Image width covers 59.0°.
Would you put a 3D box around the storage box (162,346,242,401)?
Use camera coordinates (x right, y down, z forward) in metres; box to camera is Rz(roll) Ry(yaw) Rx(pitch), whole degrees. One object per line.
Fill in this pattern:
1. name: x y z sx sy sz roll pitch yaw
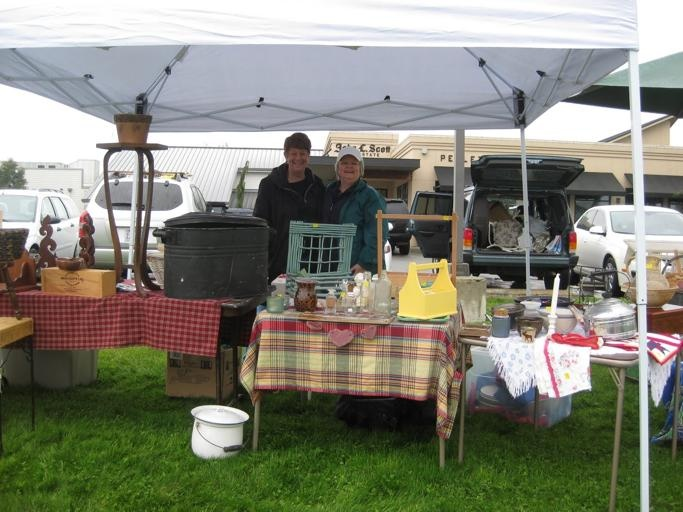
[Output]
1. storage box: -1.290 1.107 5.700 0.408 0.594 0.811 0 -18 1

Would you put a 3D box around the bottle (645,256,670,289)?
1. bottle: 2.250 0.140 4.383 0.175 0.264 0.184 -1 4 0

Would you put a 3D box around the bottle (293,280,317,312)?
1. bottle: -0.255 0.280 4.333 0.184 0.258 0.196 0 1 0

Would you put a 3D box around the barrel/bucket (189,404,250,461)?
1. barrel/bucket: -0.896 1.307 4.463 0.413 0.350 0.469 8 0 -34

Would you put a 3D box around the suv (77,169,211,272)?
1. suv: -2.969 -0.530 8.835 1.286 1.239 2.436 0 13 -2

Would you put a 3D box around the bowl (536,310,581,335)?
1. bowl: 1.486 0.429 4.114 0.169 0.103 0.180 -1 0 0

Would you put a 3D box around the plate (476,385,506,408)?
1. plate: 1.254 1.161 5.042 0.169 0.067 0.179 3 7 23

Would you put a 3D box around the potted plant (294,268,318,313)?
1. potted plant: -0.268 0.254 4.412 0.241 0.317 0.255 3 3 -5

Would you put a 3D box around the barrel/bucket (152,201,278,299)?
1. barrel/bucket: -0.959 0.004 4.705 0.904 0.667 0.521 2 -3 -37

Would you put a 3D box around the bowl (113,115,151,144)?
1. bowl: -1.627 -0.993 4.731 0.296 0.241 0.287 0 8 0

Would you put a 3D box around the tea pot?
1. tea pot: 1.768 0.319 4.177 0.320 0.465 0.477 -12 6 -41

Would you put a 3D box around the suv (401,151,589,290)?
1. suv: 2.694 -0.754 10.284 2.225 1.626 2.860 1 10 3

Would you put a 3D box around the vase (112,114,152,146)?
1. vase: -1.629 -0.997 4.735 0.280 0.242 0.286 1 8 4

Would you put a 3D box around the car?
1. car: 4.926 -0.285 11.266 1.803 1.628 3.334 0 -1 0

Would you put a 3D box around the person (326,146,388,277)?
1. person: 0.108 -0.434 5.432 0.448 1.096 0.683 -7 13 -39

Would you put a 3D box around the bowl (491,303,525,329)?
1. bowl: 1.174 0.395 4.205 0.176 0.136 0.188 -1 -1 0

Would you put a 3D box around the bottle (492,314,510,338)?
1. bottle: 1.065 0.475 4.049 0.128 0.163 0.114 -1 0 14

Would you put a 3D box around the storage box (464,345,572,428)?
1. storage box: 1.341 1.161 5.018 0.703 0.489 0.746 1 -3 23

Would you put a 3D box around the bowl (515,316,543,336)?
1. bowl: 1.274 0.461 4.092 0.128 0.102 0.134 -1 -2 0

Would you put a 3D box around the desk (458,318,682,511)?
1. desk: 1.311 1.079 4.209 1.183 0.997 1.211 1 4 0

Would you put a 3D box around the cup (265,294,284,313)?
1. cup: -0.480 0.340 4.366 0.106 0.098 0.110 0 -5 0
